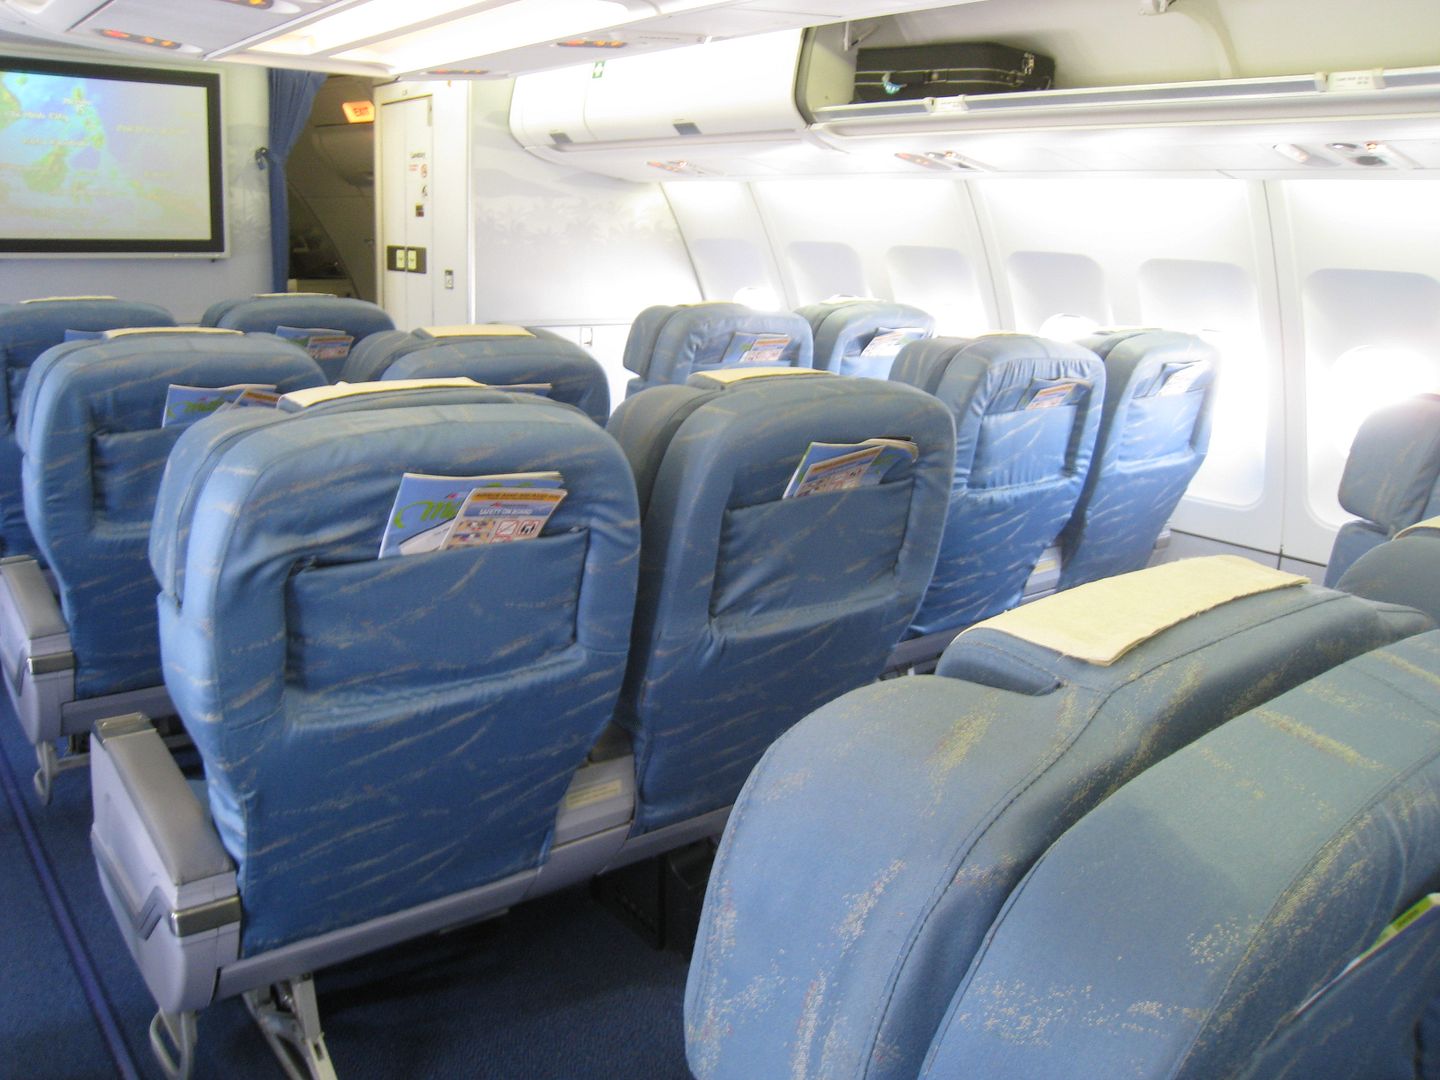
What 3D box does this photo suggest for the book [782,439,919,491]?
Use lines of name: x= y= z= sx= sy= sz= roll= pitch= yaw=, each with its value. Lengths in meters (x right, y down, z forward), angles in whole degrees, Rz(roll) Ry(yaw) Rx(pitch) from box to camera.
book: x=0.223 y=-0.136 z=1.983 sx=0.149 sy=0.104 sz=0.015 roll=-9 pitch=59 yaw=-16

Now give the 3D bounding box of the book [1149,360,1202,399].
book: x=1.294 y=-0.464 z=3.205 sx=0.122 sy=0.058 sz=0.237 roll=-3 pitch=-6 yaw=24

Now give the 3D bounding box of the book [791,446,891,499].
book: x=0.208 y=-0.122 z=1.982 sx=0.132 sy=0.090 sz=0.015 roll=-7 pitch=55 yaw=-34

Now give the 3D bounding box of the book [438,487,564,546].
book: x=-0.326 y=-0.038 z=1.644 sx=0.120 sy=0.116 sz=0.014 roll=-7 pitch=59 yaw=-36
